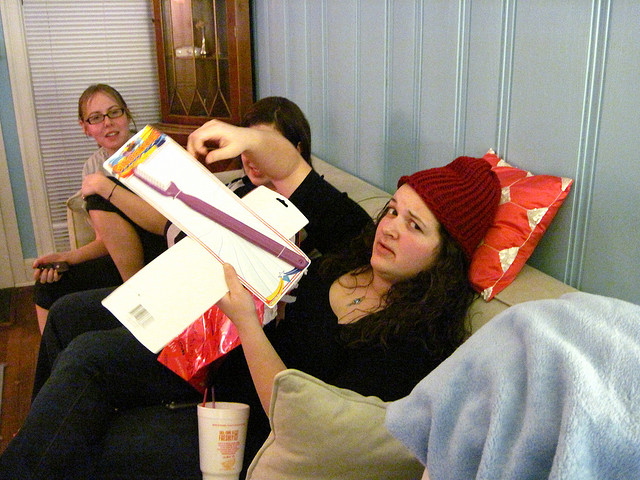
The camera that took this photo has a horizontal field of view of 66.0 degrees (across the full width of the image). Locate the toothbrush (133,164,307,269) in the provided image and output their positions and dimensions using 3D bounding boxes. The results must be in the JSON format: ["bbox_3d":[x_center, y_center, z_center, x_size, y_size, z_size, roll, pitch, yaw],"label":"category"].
[{"bbox_3d":[-0.204,-0.046,1.016,0.398,0.033,0.043,29,-10,-3],"label":"toothbrush"}]

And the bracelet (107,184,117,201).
[{"bbox_3d":[-0.854,-0.195,2.019,0.013,0.058,0.036,28,-1,-10],"label":"bracelet"}]

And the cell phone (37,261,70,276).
[{"bbox_3d":[-1.097,0.115,2.014,0.096,0.025,0.056,-3,48,-18],"label":"cell phone"}]

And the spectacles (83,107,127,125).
[{"bbox_3d":[-1.166,-0.672,2.676,0.221,0.071,0.076,-14,20,-24],"label":"spectacles"}]
